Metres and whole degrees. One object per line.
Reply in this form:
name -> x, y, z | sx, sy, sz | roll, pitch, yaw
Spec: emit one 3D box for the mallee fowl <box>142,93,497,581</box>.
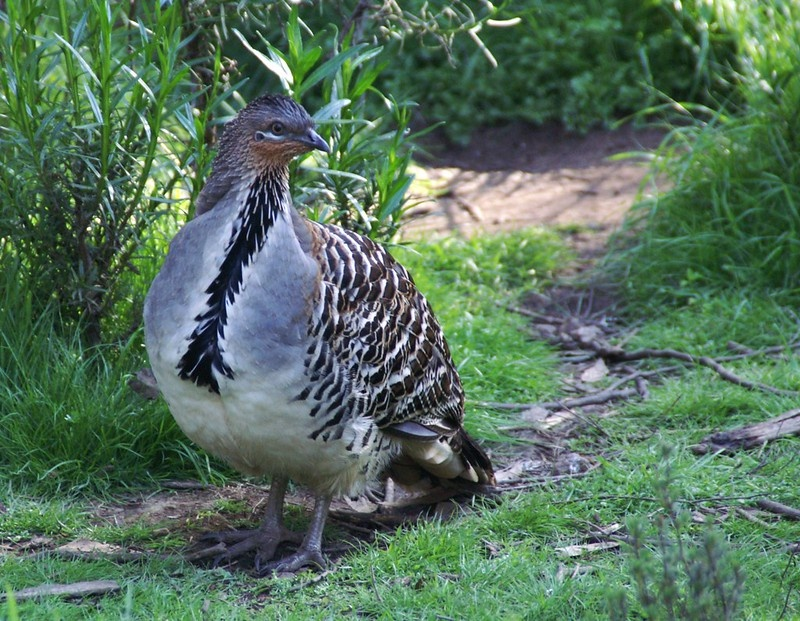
mallee fowl -> -0.383, 0.089, 4.338 | 1.224, 1.988, 0.577 | -13, 9, -35
